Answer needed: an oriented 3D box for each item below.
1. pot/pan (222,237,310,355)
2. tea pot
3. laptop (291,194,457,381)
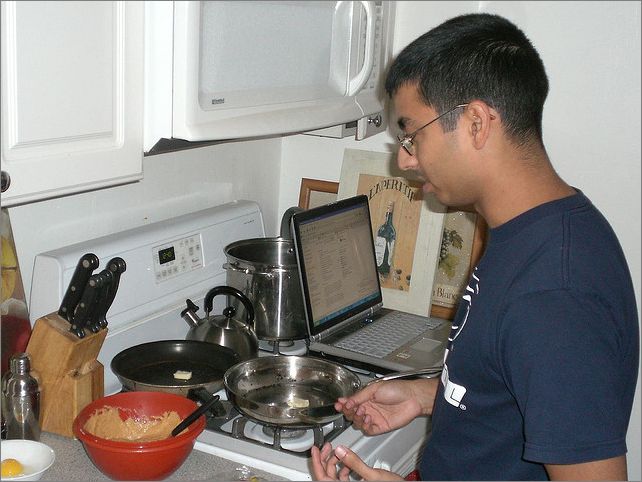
[{"bbox_3d":[-0.140,0.147,1.885,0.358,0.361,0.347,-1,16,2],"label":"pot/pan"},{"bbox_3d":[-0.301,0.225,1.651,0.244,0.228,0.173,13,10,18],"label":"tea pot"},{"bbox_3d":[0.160,0.163,1.897,0.576,0.533,0.553,13,18,28],"label":"laptop"}]
